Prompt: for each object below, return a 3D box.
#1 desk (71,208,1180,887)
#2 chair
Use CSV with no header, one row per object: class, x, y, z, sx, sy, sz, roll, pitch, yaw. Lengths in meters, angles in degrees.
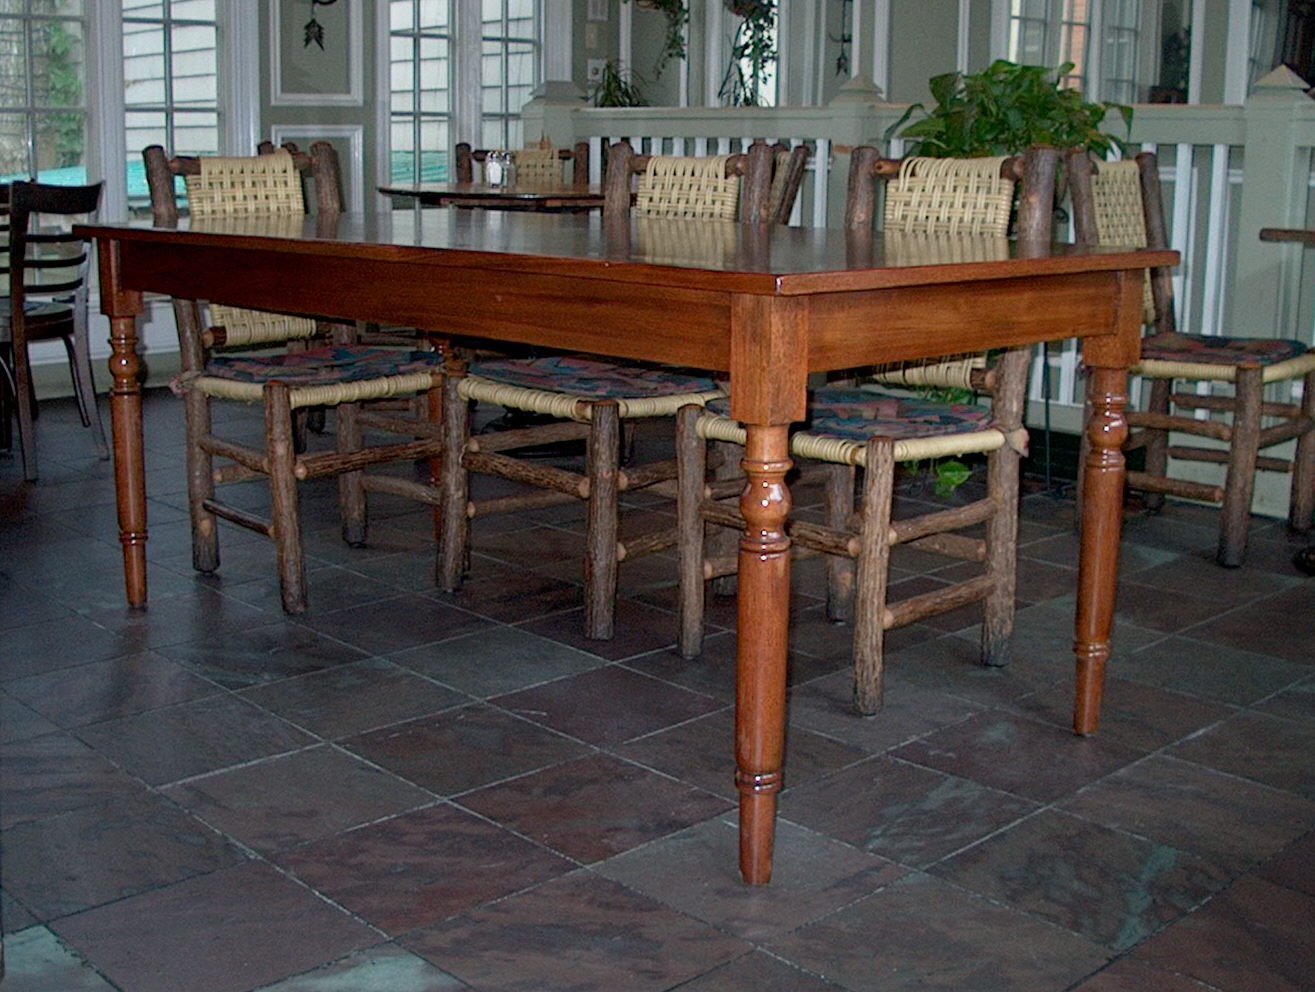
desk,-0.248,-0.100,2.467,2.128,1.022,1.087,12,21,40
chair,0.058,-0.139,2.771,1.116,0.734,2.230,-12,15,-43
